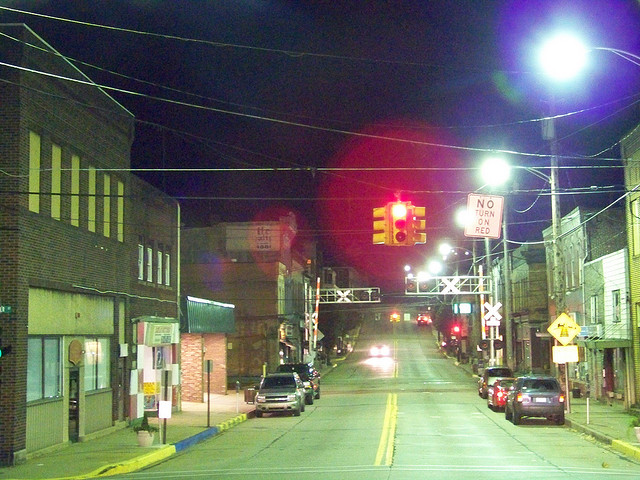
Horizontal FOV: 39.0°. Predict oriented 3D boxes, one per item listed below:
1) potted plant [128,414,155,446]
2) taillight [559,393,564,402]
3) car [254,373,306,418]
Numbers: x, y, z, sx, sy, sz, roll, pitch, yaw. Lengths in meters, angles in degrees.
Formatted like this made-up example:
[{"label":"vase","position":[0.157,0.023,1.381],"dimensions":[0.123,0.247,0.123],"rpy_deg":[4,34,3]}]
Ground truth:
[{"label":"potted plant","position":[-6.337,6.895,32.699],"dimensions":[0.876,1.066,1.182],"rpy_deg":[-2,5,-41]},{"label":"taillight","position":[10.115,6.523,37.652],"dimensions":[0.111,0.362,0.260],"rpy_deg":[-14,-18,42]},{"label":"car","position":[-1.892,7.543,44.597],"dimensions":[2.058,2.080,4.816],"rpy_deg":[-2,-8,3]}]
